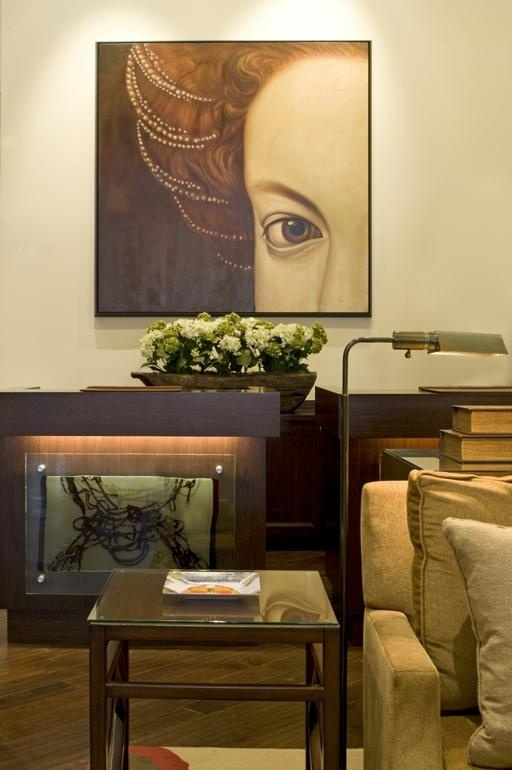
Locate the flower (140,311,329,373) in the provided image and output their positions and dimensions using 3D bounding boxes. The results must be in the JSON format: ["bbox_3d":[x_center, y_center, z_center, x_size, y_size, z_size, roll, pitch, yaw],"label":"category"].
[{"bbox_3d":[-0.109,-0.144,2.521,0.447,0.195,0.333,1,5,-5],"label":"flower"}]

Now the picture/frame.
[{"bbox_3d":[-0.160,-1.144,3.566,1.378,1.477,0.053,1,4,1],"label":"picture/frame"}]

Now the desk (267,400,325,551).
[{"bbox_3d":[0.188,0.411,3.554,0.388,0.808,0.440,3,23,15],"label":"desk"}]
